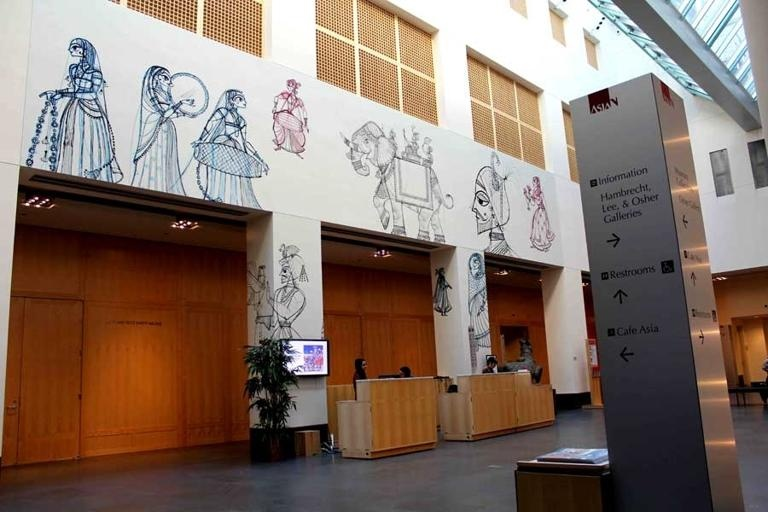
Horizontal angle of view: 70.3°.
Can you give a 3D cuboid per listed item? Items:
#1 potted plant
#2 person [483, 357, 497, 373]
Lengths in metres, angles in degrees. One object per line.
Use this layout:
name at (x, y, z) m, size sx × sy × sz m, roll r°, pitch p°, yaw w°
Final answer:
potted plant at (-2.871, 3.565, 13.873) m, size 1.252 × 3.050 × 1.134 m, roll 1°, pitch -10°, yaw -17°
person at (3.663, 3.707, 18.977) m, size 0.523 × 0.582 × 1.164 m, roll -4°, pitch -11°, yaw 10°
